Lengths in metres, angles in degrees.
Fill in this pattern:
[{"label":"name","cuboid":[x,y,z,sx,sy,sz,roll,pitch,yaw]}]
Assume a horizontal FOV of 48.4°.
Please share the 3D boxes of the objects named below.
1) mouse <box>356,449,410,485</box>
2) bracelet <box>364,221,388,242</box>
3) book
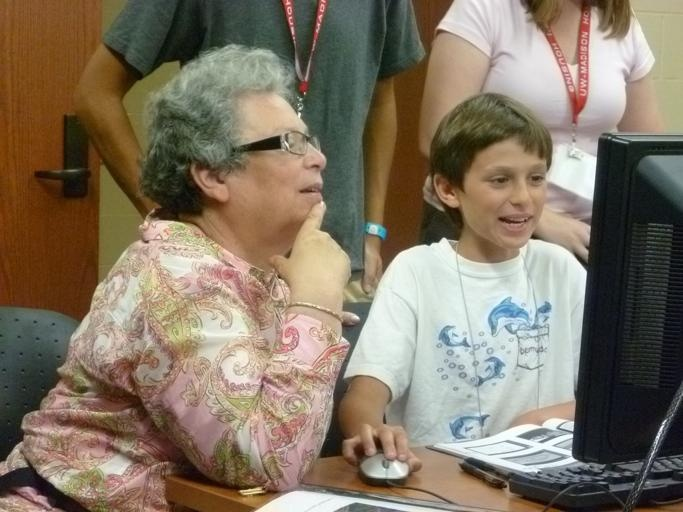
[{"label":"mouse","cuboid":[0.079,0.389,1.416,0.094,0.046,0.129,1,1,4]},{"label":"bracelet","cuboid":[0.111,-0.092,2.565,0.066,0.053,0.063,12,-16,-7]},{"label":"book","cuboid":[0.328,0.386,1.554,0.165,0.018,0.153,-6,7,-42]}]
